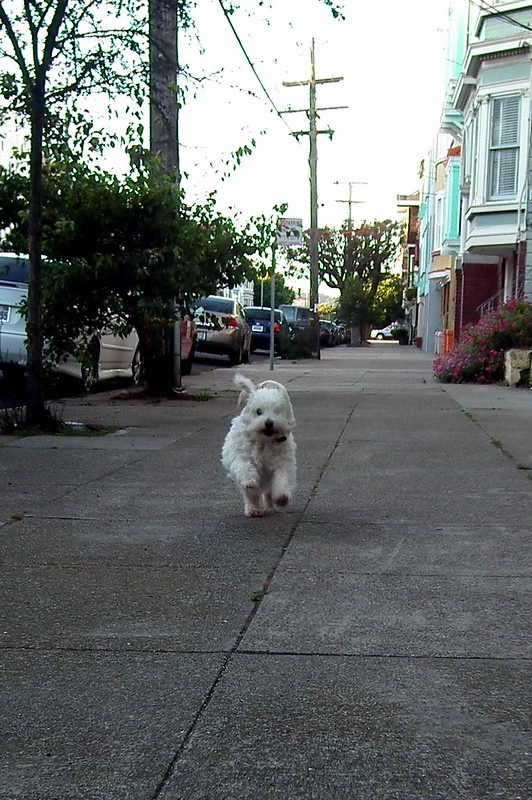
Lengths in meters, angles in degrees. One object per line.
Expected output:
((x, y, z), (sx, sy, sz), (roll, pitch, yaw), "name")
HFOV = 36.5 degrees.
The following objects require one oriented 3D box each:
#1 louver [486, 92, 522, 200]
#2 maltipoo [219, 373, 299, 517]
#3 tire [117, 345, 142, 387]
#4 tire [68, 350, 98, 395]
((6.460, -6.953, 22.232), (0.857, 2.715, 0.226), (4, 6, 38), "louver")
((-0.035, 0.311, 5.276), (0.452, 0.923, 0.630), (0, 5, -8), "maltipoo")
((-2.309, -0.622, 13.656), (0.177, 0.551, 0.547), (2, 27, 13), "tire")
((-2.625, -0.426, 11.531), (0.337, 0.374, 0.864), (-9, -21, -11), "tire")
